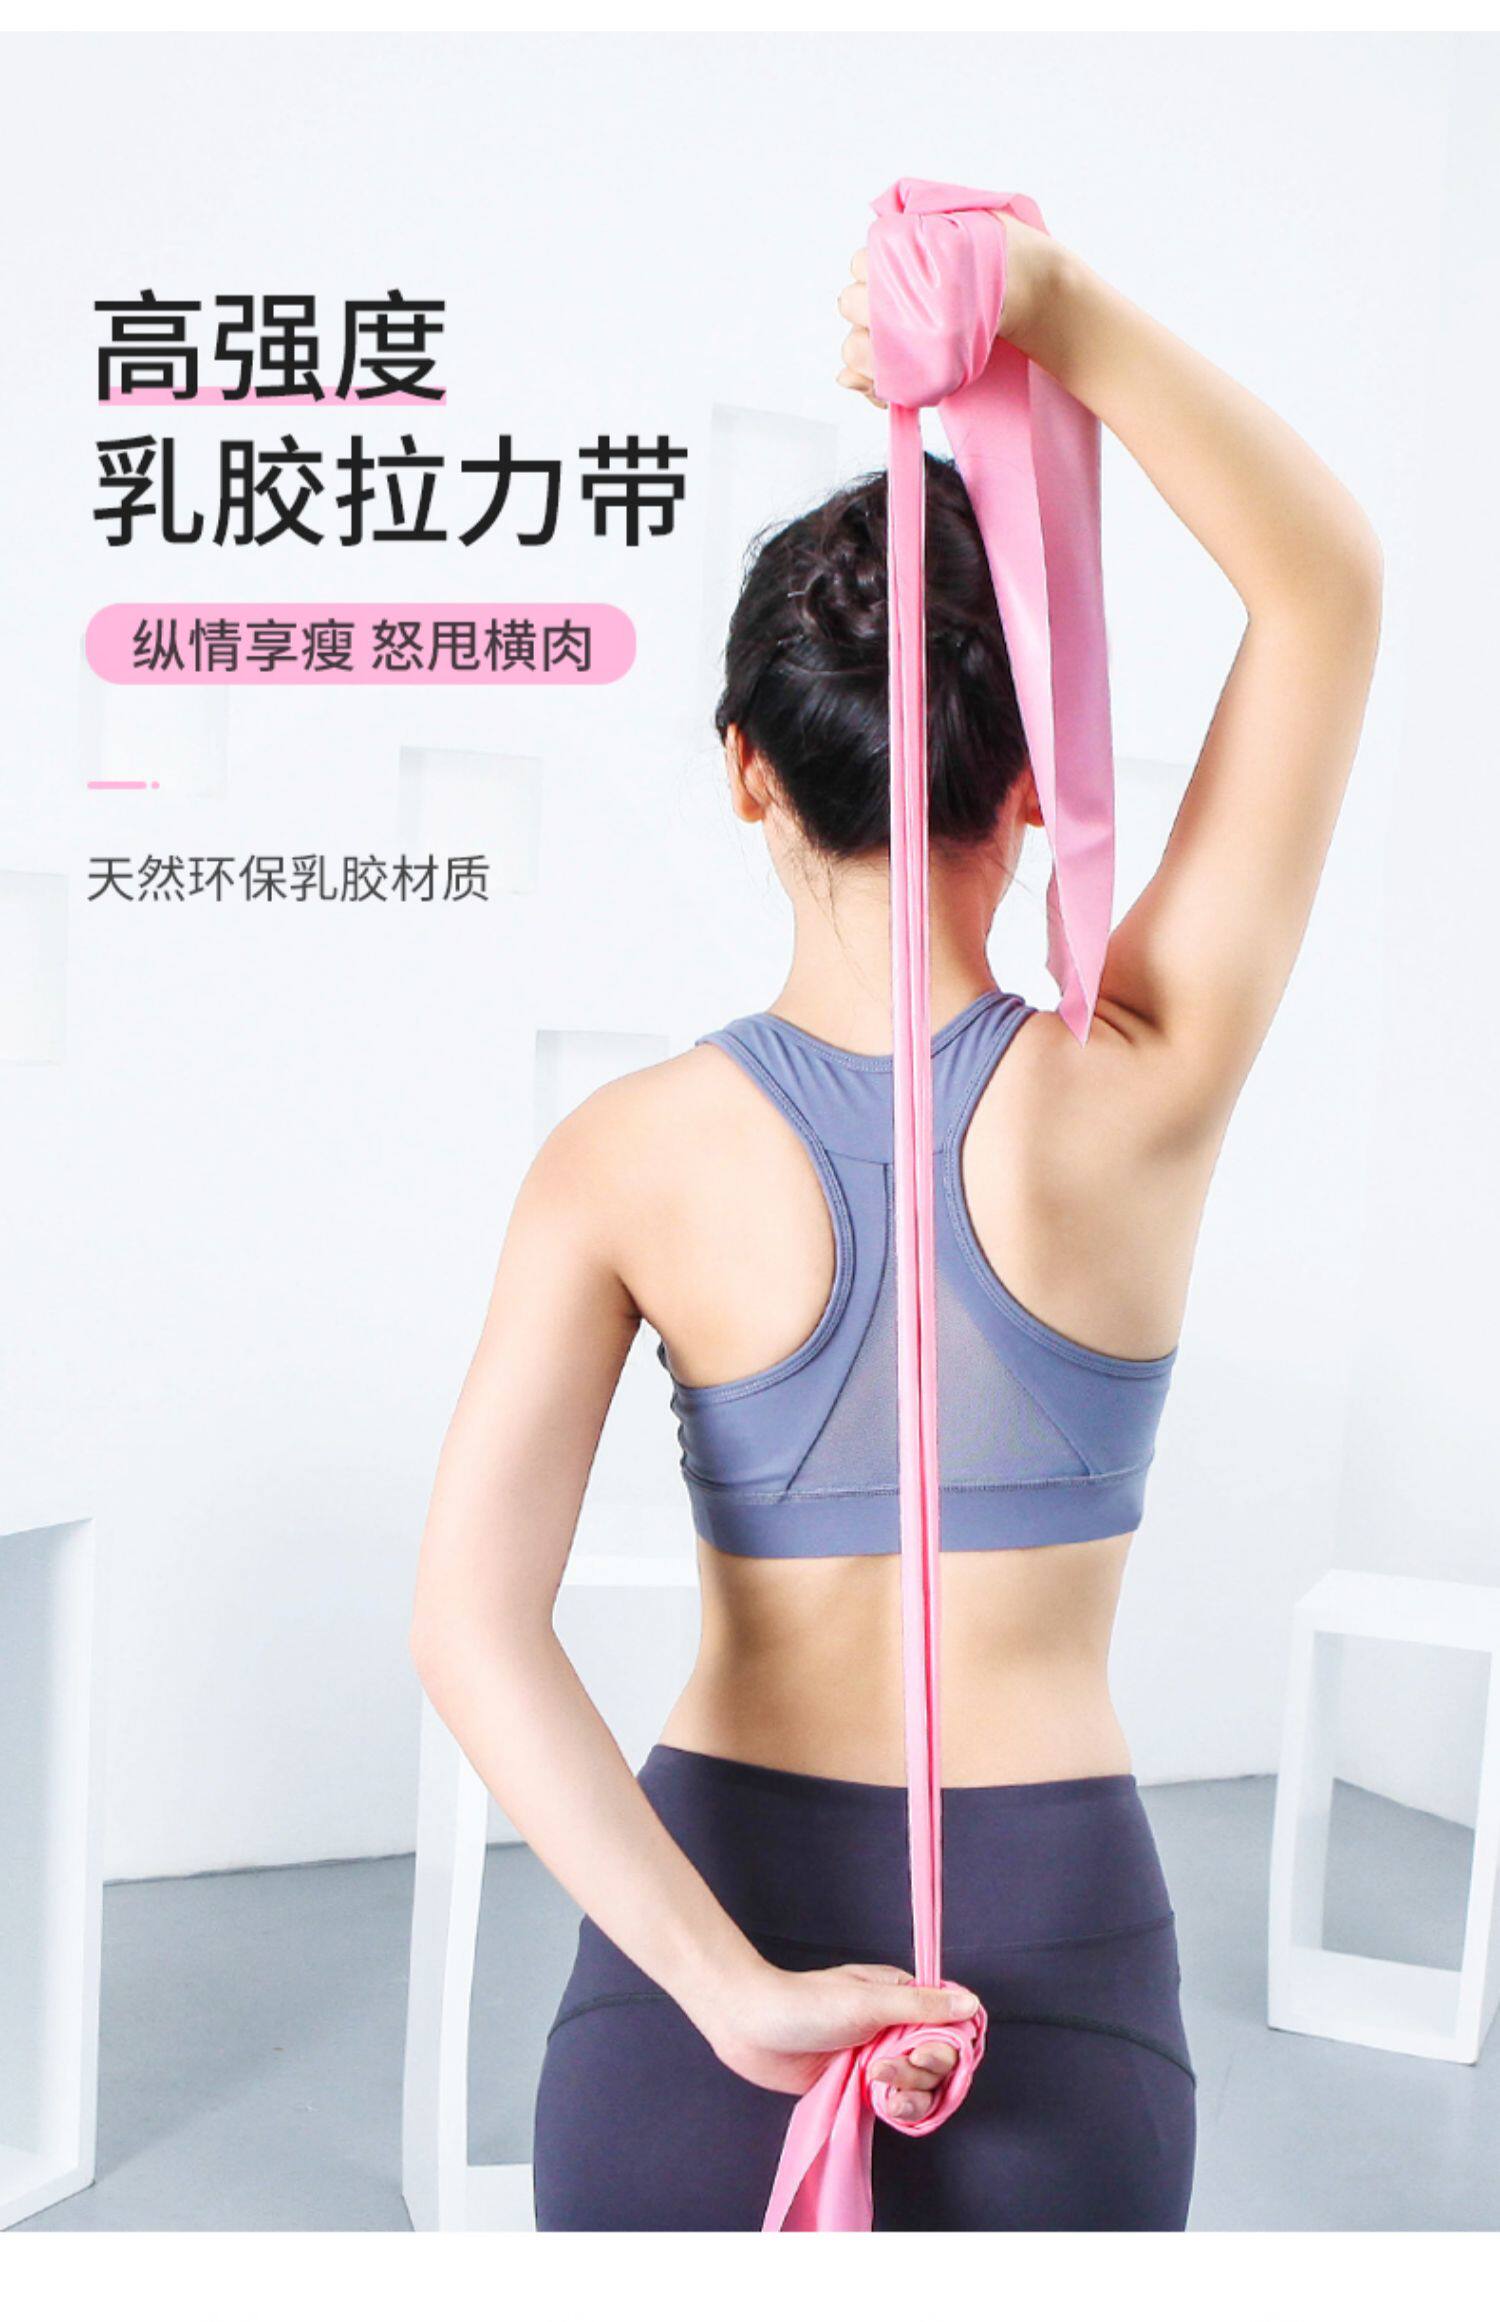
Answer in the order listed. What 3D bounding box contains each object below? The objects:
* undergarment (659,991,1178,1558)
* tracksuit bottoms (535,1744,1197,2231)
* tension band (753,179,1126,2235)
[{"bbox_3d":[0.079,0.049,0.969,0.269,0.256,0.143,-1,1,-6],"label":"undergarment"},{"bbox_3d":[0.053,0.362,0.965,0.251,0.217,0.123,3,0,8],"label":"tracksuit bottoms"},{"bbox_3d":[0.089,0.020,0.970,0.117,0.900,0.215,2,6,23],"label":"tension band"}]
